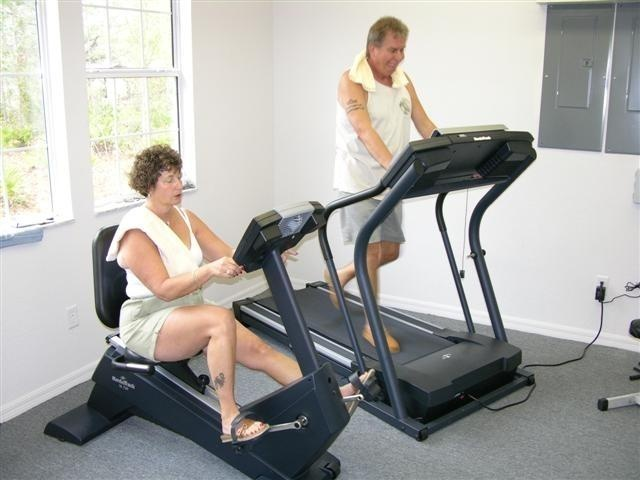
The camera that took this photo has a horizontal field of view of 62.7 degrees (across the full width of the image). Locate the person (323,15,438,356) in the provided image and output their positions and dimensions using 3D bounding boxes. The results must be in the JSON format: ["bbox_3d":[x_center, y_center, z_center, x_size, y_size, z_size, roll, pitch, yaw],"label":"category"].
[{"bbox_3d":[0.361,-0.152,3.329,0.487,2.298,0.521,-7,25,-28],"label":"person"}]

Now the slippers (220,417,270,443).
[{"bbox_3d":[-0.321,0.807,2.259,0.183,0.068,0.116,-7,12,32],"label":"slippers"}]

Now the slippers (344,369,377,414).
[{"bbox_3d":[0.229,0.723,2.507,0.125,0.156,0.288,26,-5,25],"label":"slippers"}]

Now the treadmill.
[{"bbox_3d":[0.284,0.054,3.332,0.977,1.522,1.779,-14,20,-37],"label":"treadmill"}]

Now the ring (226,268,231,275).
[{"bbox_3d":[-0.376,0.133,2.162,0.017,0.017,0.004,-24,-3,4],"label":"ring"}]
